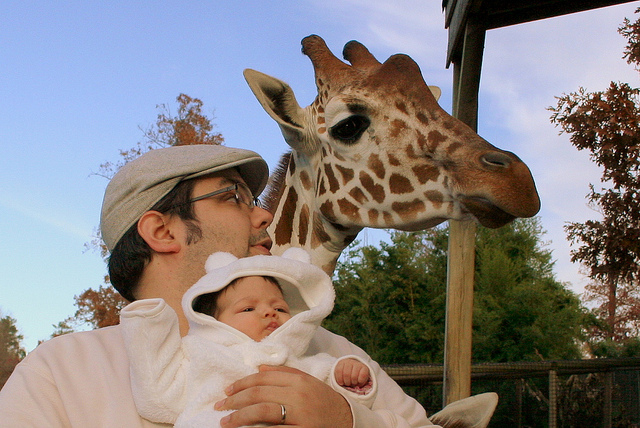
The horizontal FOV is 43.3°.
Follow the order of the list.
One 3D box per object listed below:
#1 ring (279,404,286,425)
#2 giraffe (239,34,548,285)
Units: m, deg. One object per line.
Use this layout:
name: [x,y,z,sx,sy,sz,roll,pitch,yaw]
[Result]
ring: [-0.310,1.705,6.879,0.026,0.119,0.118,5,-8,-16]
giraffe: [0.900,-0.726,9.221,3.476,2.801,1.766,-2,1,27]
